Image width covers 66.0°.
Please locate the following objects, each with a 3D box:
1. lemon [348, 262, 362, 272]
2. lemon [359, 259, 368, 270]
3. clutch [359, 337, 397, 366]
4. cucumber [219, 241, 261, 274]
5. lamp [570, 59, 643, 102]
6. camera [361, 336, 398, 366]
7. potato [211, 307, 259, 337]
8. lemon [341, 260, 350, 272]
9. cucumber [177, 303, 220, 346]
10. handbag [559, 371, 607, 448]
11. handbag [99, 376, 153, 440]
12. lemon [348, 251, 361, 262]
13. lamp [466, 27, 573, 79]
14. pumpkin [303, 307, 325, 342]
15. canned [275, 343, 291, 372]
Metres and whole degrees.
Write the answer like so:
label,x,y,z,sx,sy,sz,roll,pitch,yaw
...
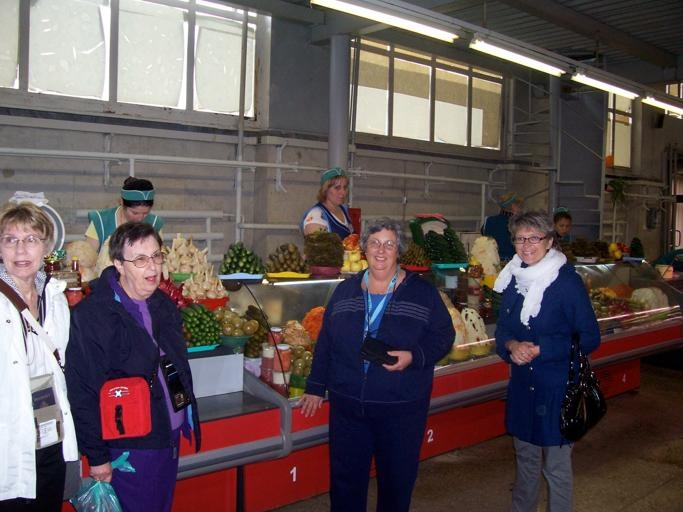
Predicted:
label,x,y,z,sx,sy,sz,roll,pitch,yaw
lemon,0.086,0.072,3.667,0.066,0.068,0.067,10,21,14
lemon,0.149,0.059,3.694,0.058,0.068,0.058,-1,36,-3
clutch,0.180,0.468,2.553,0.159,0.097,0.037,19,-26,3
cucumber,-0.635,0.010,3.355,0.269,0.193,0.188,1,8,-7
lamp,3.209,-2.148,6.476,1.598,0.194,0.205,-5,10,-38
camera,0.183,0.468,2.555,0.157,0.097,0.036,20,-27,3
potato,-0.609,0.394,2.994,0.175,0.061,0.181,16,-6,-29
lemon,0.031,0.073,3.683,0.057,0.068,0.037,23,-10,-36
cucumber,-0.774,0.370,2.921,0.193,0.216,0.195,12,9,43
handbag,1.305,0.813,2.880,0.227,0.426,0.233,5,8,19
handbag,-0.901,0.638,2.182,0.189,0.245,0.104,-2,9,-24
lemon,0.091,0.004,3.687,0.069,0.068,0.068,-10,13,-36
lamp,1.832,-2.088,5.476,1.526,0.164,0.198,-4,10,-36
pumpkin,-0.187,0.448,3.458,0.117,0.215,0.181,3,-1,32
canned,-0.345,0.595,3.051,0.093,0.153,0.097,0,8,-13
